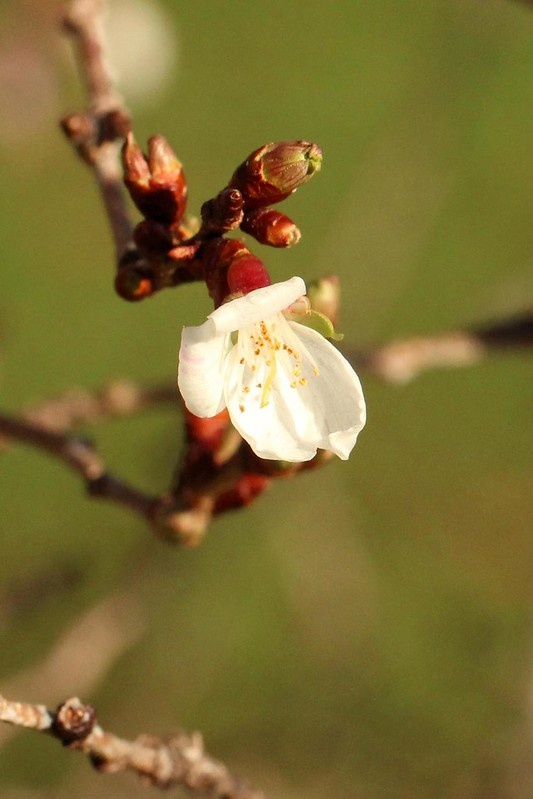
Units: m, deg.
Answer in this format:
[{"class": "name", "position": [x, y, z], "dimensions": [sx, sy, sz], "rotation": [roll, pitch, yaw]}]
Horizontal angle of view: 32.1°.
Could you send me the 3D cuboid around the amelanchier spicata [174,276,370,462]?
[{"class": "amelanchier spicata", "position": [-0.025, -0.053, 1.656], "dimensions": [0.309, 0.361, 0.188], "rotation": [-34, 45, -25]}]
